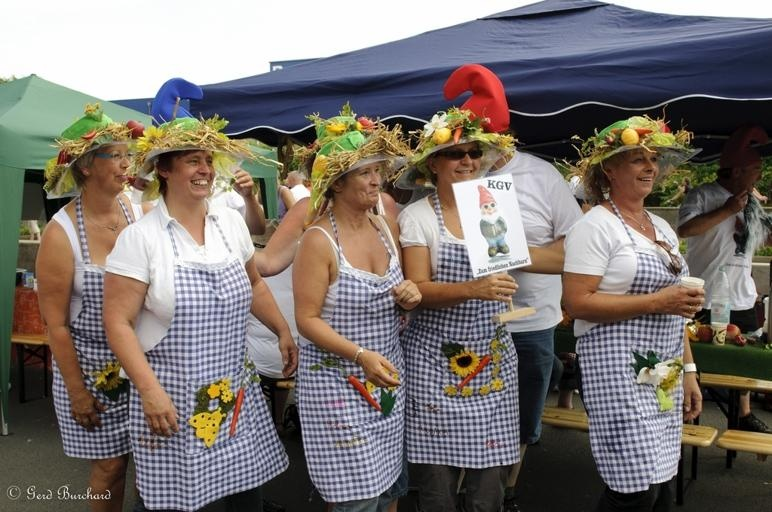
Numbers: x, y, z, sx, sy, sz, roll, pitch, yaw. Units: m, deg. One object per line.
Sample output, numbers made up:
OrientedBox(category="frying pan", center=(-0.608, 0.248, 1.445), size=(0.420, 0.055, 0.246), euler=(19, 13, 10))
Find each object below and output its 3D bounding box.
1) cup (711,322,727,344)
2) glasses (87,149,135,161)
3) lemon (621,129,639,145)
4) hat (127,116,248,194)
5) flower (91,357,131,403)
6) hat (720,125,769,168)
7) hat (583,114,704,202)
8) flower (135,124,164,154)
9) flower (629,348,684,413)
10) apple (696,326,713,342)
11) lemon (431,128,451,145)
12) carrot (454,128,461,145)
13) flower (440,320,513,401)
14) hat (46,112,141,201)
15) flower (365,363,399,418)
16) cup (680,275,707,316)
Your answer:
OrientedBox(category="cup", center=(2.674, 0.628, 5.158), size=(0.173, 0.166, 0.163), euler=(1, -3, 0))
OrientedBox(category="glasses", center=(-1.801, -0.656, 4.200), size=(0.151, 0.042, 0.149), euler=(2, 4, 35))
OrientedBox(category="lemon", center=(1.512, -0.731, 3.974), size=(0.072, 0.077, 0.067), euler=(6, -50, -42))
OrientedBox(category="hat", center=(-1.196, -0.669, 3.954), size=(0.626, 0.341, 0.613), euler=(-5, -8, 19))
OrientedBox(category="flower", center=(-1.797, 0.815, 4.206), size=(0.290, 0.238, 0.083), euler=(0, 4, -35))
OrientedBox(category="hat", center=(3.262, -1.012, 5.946), size=(0.455, 0.339, 0.299), euler=(-18, 17, 23))
OrientedBox(category="hat", center=(1.650, -0.652, 4.215), size=(0.708, 0.564, 0.525), euler=(-4, -1, 1))
OrientedBox(category="flower", center=(-1.401, -0.693, 3.853), size=(0.223, 0.132, 0.081), euler=(-5, -1, 32))
OrientedBox(category="flower", center=(1.723, 0.796, 4.049), size=(0.371, 0.408, 0.108), euler=(-3, -1, -31))
OrientedBox(category="apple", center=(2.594, 0.645, 5.262), size=(0.124, 0.106, 0.118), euler=(0, 0, -30))
OrientedBox(category="lemon", center=(0.359, -0.752, 4.116), size=(0.110, 0.098, 0.107), euler=(-11, 25, 9))
OrientedBox(category="carrot", center=(0.460, -0.751, 4.071), size=(0.033, 0.105, 0.035), euler=(17, -28, 23))
OrientedBox(category="flower", center=(0.602, 0.700, 4.215), size=(0.482, 0.447, 0.094), euler=(-3, -1, -22))
OrientedBox(category="hat", center=(-2.013, -0.700, 4.279), size=(0.697, 0.329, 0.632), euler=(-23, -4, -28))
OrientedBox(category="flower", center=(-0.020, 0.856, 4.047), size=(0.207, 0.309, 0.079), euler=(-14, 13, -22))
OrientedBox(category="cup", center=(1.894, 0.234, 3.973), size=(0.127, 0.216, 0.251), euler=(-5, -1, 24))
